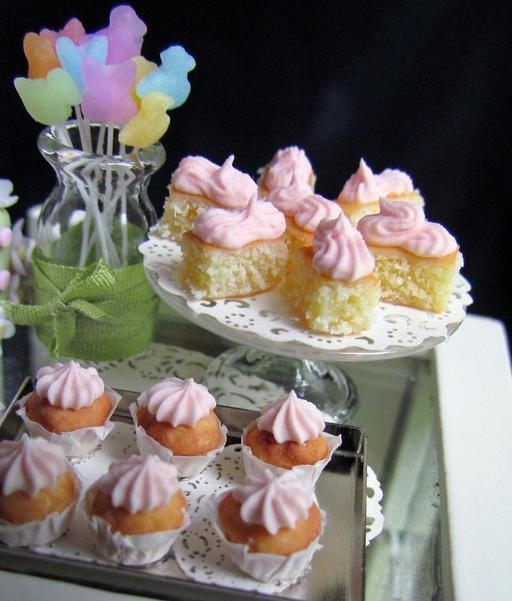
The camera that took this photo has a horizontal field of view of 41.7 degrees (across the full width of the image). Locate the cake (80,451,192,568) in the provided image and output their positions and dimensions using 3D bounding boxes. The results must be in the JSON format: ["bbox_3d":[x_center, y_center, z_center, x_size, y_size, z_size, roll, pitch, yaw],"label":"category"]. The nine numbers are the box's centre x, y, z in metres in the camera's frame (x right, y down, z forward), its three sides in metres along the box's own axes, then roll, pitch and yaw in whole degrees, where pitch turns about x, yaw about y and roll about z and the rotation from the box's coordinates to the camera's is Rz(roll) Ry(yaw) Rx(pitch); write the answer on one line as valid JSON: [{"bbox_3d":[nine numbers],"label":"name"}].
[{"bbox_3d":[-0.175,0.283,0.981,0.175,0.128,0.158,-1,29,-15],"label":"cake"}]

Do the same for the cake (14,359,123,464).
[{"bbox_3d":[-0.304,0.178,1.171,0.194,0.137,0.171,11,20,6],"label":"cake"}]

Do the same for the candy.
[{"bbox_3d":[-0.301,-0.399,1.342,0.315,0.360,0.266,9,27,-9],"label":"candy"}]

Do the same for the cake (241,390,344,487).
[{"bbox_3d":[0.024,0.214,1.136,0.193,0.158,0.165,1,18,-5],"label":"cake"}]

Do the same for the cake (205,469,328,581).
[{"bbox_3d":[0.014,0.292,0.971,0.186,0.117,0.161,0,17,1],"label":"cake"}]
